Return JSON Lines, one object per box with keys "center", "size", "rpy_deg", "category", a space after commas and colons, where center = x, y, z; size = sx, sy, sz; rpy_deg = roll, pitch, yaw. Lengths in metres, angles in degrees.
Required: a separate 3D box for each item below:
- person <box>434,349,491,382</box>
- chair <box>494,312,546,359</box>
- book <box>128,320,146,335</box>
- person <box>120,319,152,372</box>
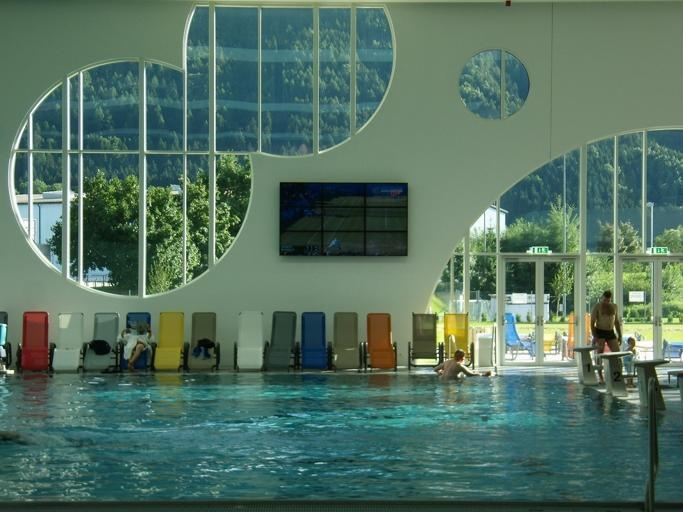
{"center": [2.580, 2.449, 23.208], "size": [0.942, 0.528, 0.659], "rpy_deg": [5, -3, -44], "category": "person"}
{"center": [4.239, 1.937, 24.751], "size": [0.976, 1.510, 0.842], "rpy_deg": [-1, -3, 17], "category": "chair"}
{"center": [-4.643, 1.660, 23.675], "size": [0.439, 0.320, 0.252], "rpy_deg": [-1, -2, 40], "category": "book"}
{"center": [-4.657, 1.954, 23.408], "size": [0.721, 0.866, 1.415], "rpy_deg": [3, 10, -5], "category": "person"}
